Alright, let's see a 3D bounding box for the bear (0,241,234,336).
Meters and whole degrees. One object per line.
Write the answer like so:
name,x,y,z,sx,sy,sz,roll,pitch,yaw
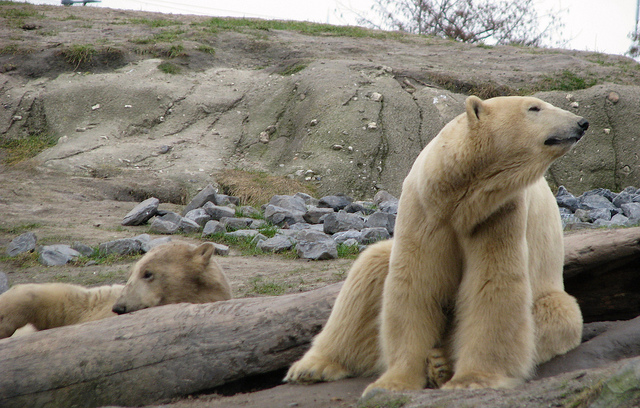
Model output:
bear,-3.232,1.430,10.261,2.664,0.823,1.836,-6,-2,-17
